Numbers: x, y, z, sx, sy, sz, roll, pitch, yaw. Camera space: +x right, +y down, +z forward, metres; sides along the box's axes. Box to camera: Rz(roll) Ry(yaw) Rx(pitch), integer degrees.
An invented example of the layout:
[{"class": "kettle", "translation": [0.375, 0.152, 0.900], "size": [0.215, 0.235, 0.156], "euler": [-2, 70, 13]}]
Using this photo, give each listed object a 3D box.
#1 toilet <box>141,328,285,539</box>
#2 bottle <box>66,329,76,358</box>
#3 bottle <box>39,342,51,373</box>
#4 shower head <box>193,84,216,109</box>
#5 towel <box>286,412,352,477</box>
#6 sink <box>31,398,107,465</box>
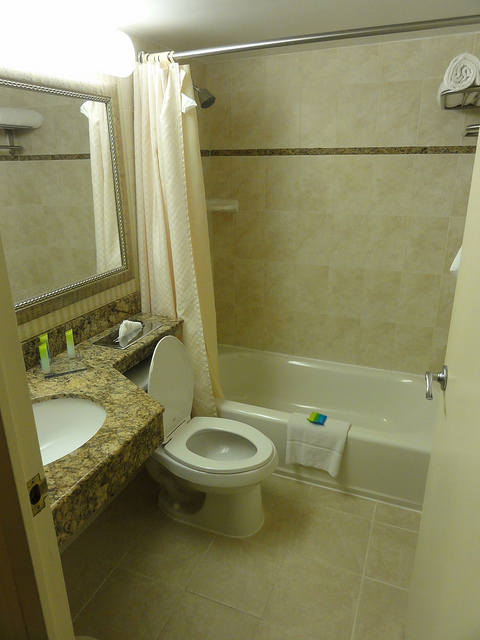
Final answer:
[{"class": "toilet", "translation": [-0.129, 0.493, 2.071], "size": [0.580, 0.774, 0.433], "euler": [5, 17, 21]}, {"class": "bottle", "translation": [-0.638, 0.090, 1.846], "size": [0.022, 0.106, 0.046], "euler": [-2, 17, 4]}, {"class": "bottle", "translation": [-0.680, 0.134, 1.699], "size": [0.026, 0.101, 0.024], "euler": [-11, 18, -24]}, {"class": "shower head", "translation": [-0.154, -0.937, 2.057], "size": [0.073, 0.080, 0.166], "euler": [-5, 18, -5]}, {"class": "towel", "translation": [0.373, 0.593, 2.342], "size": [0.289, 0.228, 0.125], "euler": [5, 19, 25]}, {"class": "sink", "translation": [-0.513, 0.325, 1.494], "size": [0.198, 0.095, 0.263], "euler": [-12, 20, -24]}]
